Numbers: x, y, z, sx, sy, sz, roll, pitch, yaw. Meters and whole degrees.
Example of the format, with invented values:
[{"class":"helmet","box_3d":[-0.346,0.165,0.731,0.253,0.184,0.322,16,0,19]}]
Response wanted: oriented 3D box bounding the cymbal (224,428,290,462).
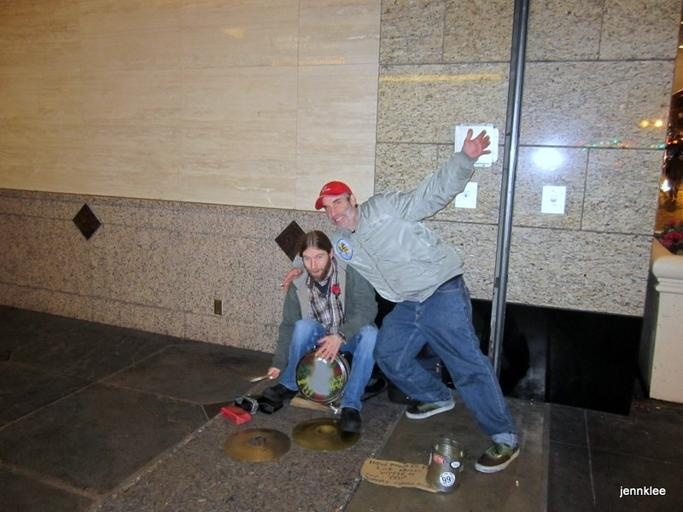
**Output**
[{"class":"cymbal","box_3d":[-0.665,1.497,3.769,0.523,0.040,0.391,3,13,6]}]
